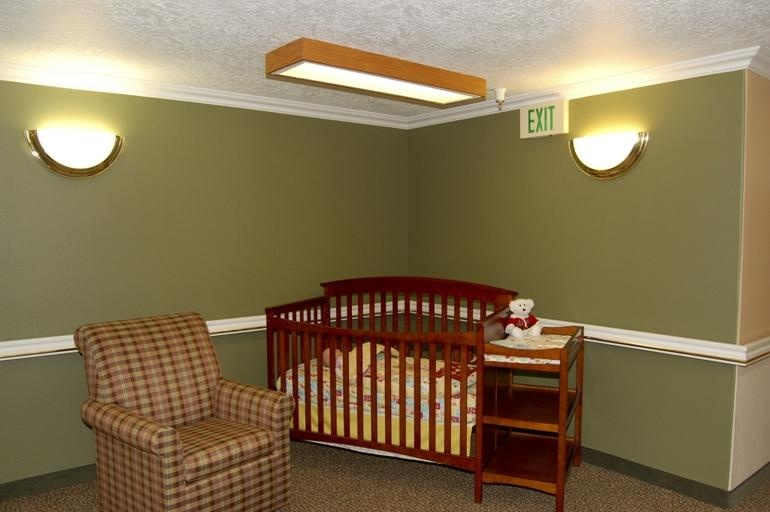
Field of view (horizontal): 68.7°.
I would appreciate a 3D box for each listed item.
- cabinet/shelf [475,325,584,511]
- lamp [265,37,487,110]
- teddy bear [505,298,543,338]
[{"bbox_3d":[1.075,1.240,4.249,0.860,1.488,1.349,-1,-2,23],"label":"cabinet/shelf"},{"bbox_3d":[-0.069,-1.231,3.843,1.441,0.249,0.452,-4,6,-29],"label":"lamp"},{"bbox_3d":[1.161,0.519,4.642,0.370,0.339,0.273,1,-1,-18],"label":"teddy bear"}]
